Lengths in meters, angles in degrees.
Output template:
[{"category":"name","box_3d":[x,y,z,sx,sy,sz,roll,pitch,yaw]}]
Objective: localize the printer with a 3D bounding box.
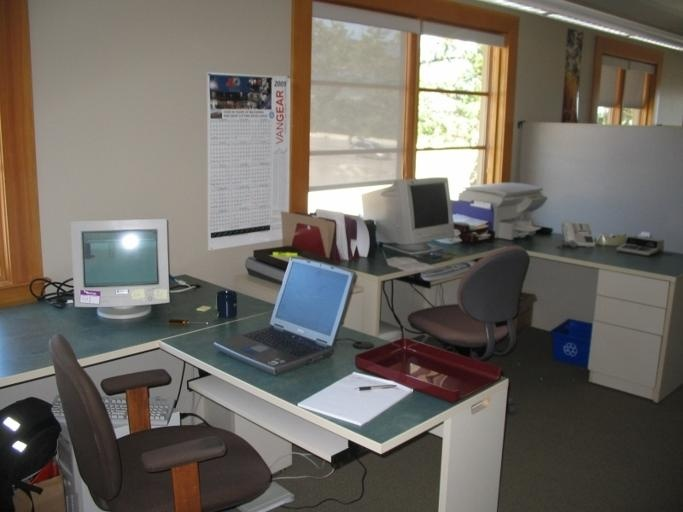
[{"category":"printer","box_3d":[1.474,-0.439,4.810,0.716,0.499,0.642,-10,15,-40]}]

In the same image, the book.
[{"category":"book","box_3d":[0.066,0.573,2.079,0.196,0.030,0.215,8,21,35]}]

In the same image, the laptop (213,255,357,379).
[{"category":"laptop","box_3d":[-0.269,0.251,2.430,0.478,0.369,0.518,9,14,44]}]

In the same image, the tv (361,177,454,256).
[{"category":"tv","box_3d":[0.551,-0.360,4.268,0.714,0.539,0.745,-2,10,-2]}]

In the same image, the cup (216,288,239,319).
[{"category":"cup","box_3d":[-0.625,0.256,2.823,0.154,0.227,0.128,-1,-3,-6]}]

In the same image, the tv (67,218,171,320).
[{"category":"tv","box_3d":[-1.247,0.049,2.954,0.472,0.541,0.285,-2,11,-23]}]
